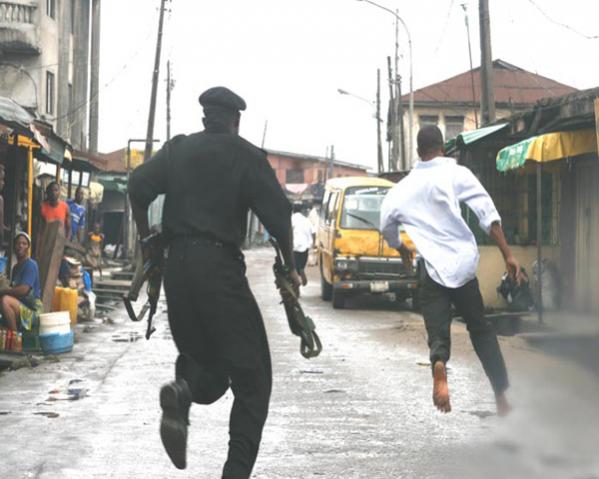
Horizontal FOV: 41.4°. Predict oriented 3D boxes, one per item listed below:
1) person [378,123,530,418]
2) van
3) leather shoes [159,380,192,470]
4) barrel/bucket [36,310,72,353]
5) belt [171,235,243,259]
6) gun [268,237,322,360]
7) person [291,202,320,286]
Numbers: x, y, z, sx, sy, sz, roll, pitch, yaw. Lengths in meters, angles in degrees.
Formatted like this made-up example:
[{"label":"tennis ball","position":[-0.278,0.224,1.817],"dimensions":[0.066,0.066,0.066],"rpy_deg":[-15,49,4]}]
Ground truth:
[{"label":"person","position":[1.228,0.204,6.475],"dimensions":[1.157,2.327,0.795],"rpy_deg":[0,0,-16]},{"label":"van","position":[1.419,-0.033,16.529],"dimensions":[1.853,2.486,3.915],"rpy_deg":[0,6,-4]},{"label":"leather shoes","position":[-0.771,1.184,5.060],"dimensions":[0.204,0.550,0.178],"rpy_deg":[-3,4,-30]},{"label":"barrel/bucket","position":[-2.991,1.149,9.783],"dimensions":[0.405,0.491,0.295],"rpy_deg":[-2,4,-21]},{"label":"belt","position":[-0.584,0.064,5.127],"dimensions":[0.470,0.166,0.148],"rpy_deg":[-1,3,-9]},{"label":"gun","position":[-0.020,0.438,5.604],"dimensions":[0.381,0.861,0.343],"rpy_deg":[1,10,-11]},{"label":"person","position":[0.081,0.027,16.921],"dimensions":[0.663,2.053,0.749],"rpy_deg":[5,8,-1]}]
